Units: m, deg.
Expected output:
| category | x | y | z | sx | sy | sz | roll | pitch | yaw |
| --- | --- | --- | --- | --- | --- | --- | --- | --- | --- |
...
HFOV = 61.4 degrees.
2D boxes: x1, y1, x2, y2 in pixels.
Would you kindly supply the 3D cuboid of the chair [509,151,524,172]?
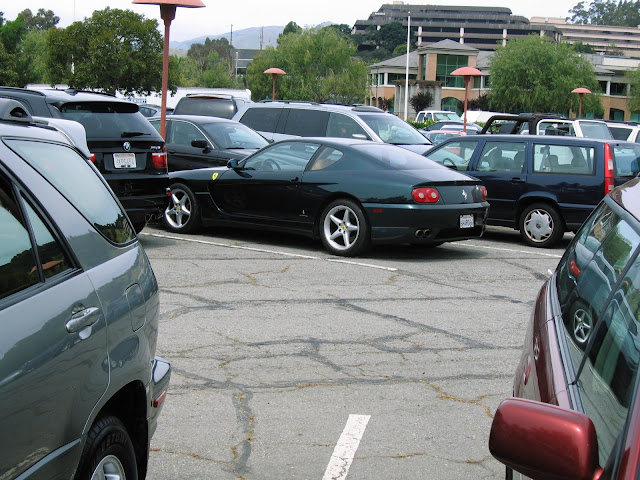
| category | x | y | z | sx | sy | sz | roll | pitch | yaw |
| --- | --- | --- | --- | --- | --- | --- | --- | --- | --- |
| chair | 4.166 | -1.661 | 11.293 | 0.241 | 0.416 | 0.109 | 10 | 14 | 36 |
